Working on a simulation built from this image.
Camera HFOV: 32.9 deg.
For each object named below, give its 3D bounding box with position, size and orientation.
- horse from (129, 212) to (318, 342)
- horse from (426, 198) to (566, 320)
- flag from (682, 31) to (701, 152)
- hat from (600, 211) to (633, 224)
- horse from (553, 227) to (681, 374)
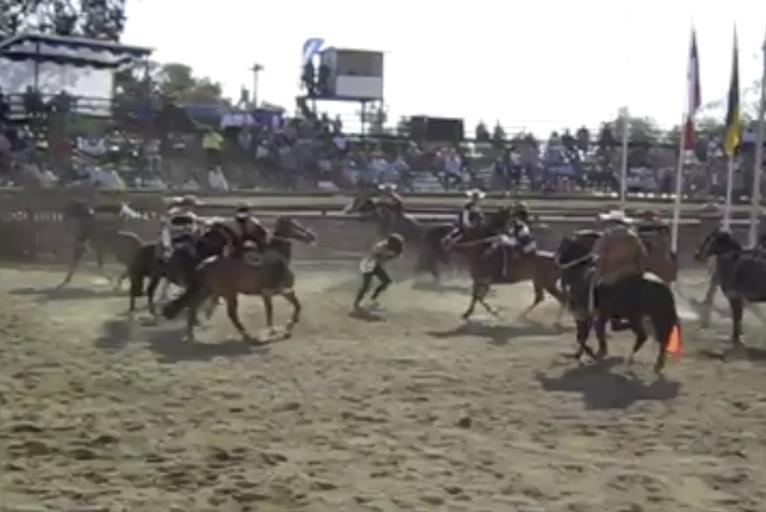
[{"bbox_3d":[-3.170,0.402,27.350,3.386,2.651,1.413,2,4,-5],"label":"horse"},{"bbox_3d":[2.721,0.125,28.338,2.546,2.633,1.108,3,4,6],"label":"horse"},{"bbox_3d":[7.220,-3.932,30.317,0.297,2.838,0.619,3,5,13],"label":"flag"},{"bbox_3d":[4.677,-0.763,26.181,0.647,0.150,0.634,3,2,14],"label":"hat"},{"bbox_3d":[4.639,0.840,26.224,0.995,2.861,2.488,-1,5,-41],"label":"horse"}]
